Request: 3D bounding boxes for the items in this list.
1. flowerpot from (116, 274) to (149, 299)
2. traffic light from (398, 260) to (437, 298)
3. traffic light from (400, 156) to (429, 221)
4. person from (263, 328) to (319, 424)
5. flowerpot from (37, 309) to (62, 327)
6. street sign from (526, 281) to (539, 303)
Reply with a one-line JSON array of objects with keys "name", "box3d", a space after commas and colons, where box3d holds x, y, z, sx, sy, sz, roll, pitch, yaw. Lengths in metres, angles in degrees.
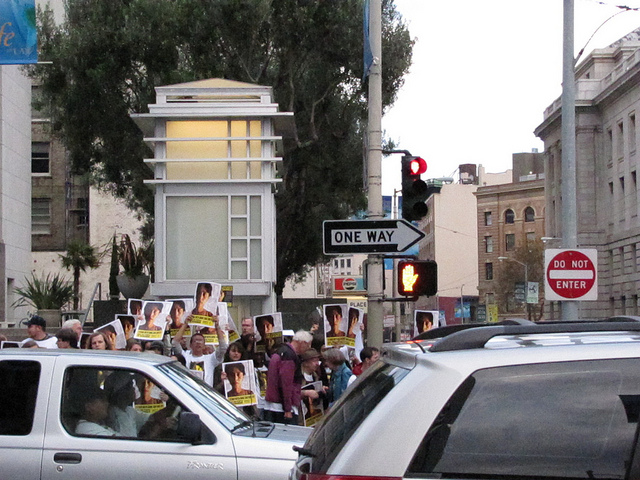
[{"name": "flowerpot", "box3d": [-5.699, 1.424, 34.937, 0.965, 0.727, 0.672, 1, -6, -12]}, {"name": "traffic light", "box3d": [1.754, 0.695, 20.700, 0.528, 0.624, 0.190, 1, 0, 5]}, {"name": "traffic light", "box3d": [1.709, -0.952, 21.137, 0.360, 1.171, 0.412, -3, 4, -24]}, {"name": "person", "box3d": [-0.562, 3.120, 21.259, 0.885, 2.839, 0.981, 1, -1, -7]}, {"name": "flowerpot", "box3d": [-7.715, 2.265, 32.831, 0.760, 0.536, 0.653, 3, -8, -30]}, {"name": "street sign", "box3d": [13.109, 3.279, 70.828, 0.097, 1.482, 1.247, 2, 0, 29]}]
